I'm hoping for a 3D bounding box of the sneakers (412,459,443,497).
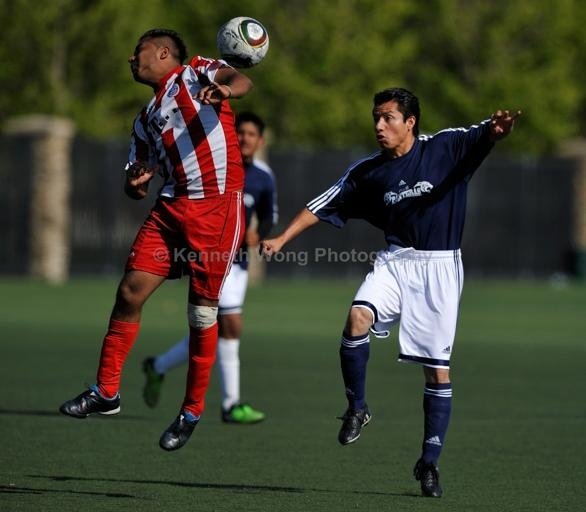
[{"bbox_3d":[0.765,1.251,5.753,0.091,0.120,0.249,-7,22,-10],"label":"sneakers"}]

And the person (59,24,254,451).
[{"bbox_3d":[-0.734,-0.122,6.088,0.908,2.510,0.719,3,5,-1],"label":"person"}]

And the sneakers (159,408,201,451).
[{"bbox_3d":[-0.670,1.033,6.123,0.127,0.141,0.359,35,28,1],"label":"sneakers"}]

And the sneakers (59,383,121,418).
[{"bbox_3d":[-1.211,0.874,6.082,0.434,0.196,0.154,6,0,-31],"label":"sneakers"}]

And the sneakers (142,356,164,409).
[{"bbox_3d":[-1.136,1.004,8.110,0.204,0.451,0.153,-2,1,30],"label":"sneakers"}]

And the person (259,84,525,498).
[{"bbox_3d":[0.655,0.131,6.123,1.198,2.309,0.593,6,6,32],"label":"person"}]

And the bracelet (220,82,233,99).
[{"bbox_3d":[-0.381,-0.938,5.656,0.083,0.036,0.112,36,30,-21],"label":"bracelet"}]

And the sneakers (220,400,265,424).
[{"bbox_3d":[-0.388,1.194,7.650,0.349,0.140,0.128,-1,-4,11],"label":"sneakers"}]
